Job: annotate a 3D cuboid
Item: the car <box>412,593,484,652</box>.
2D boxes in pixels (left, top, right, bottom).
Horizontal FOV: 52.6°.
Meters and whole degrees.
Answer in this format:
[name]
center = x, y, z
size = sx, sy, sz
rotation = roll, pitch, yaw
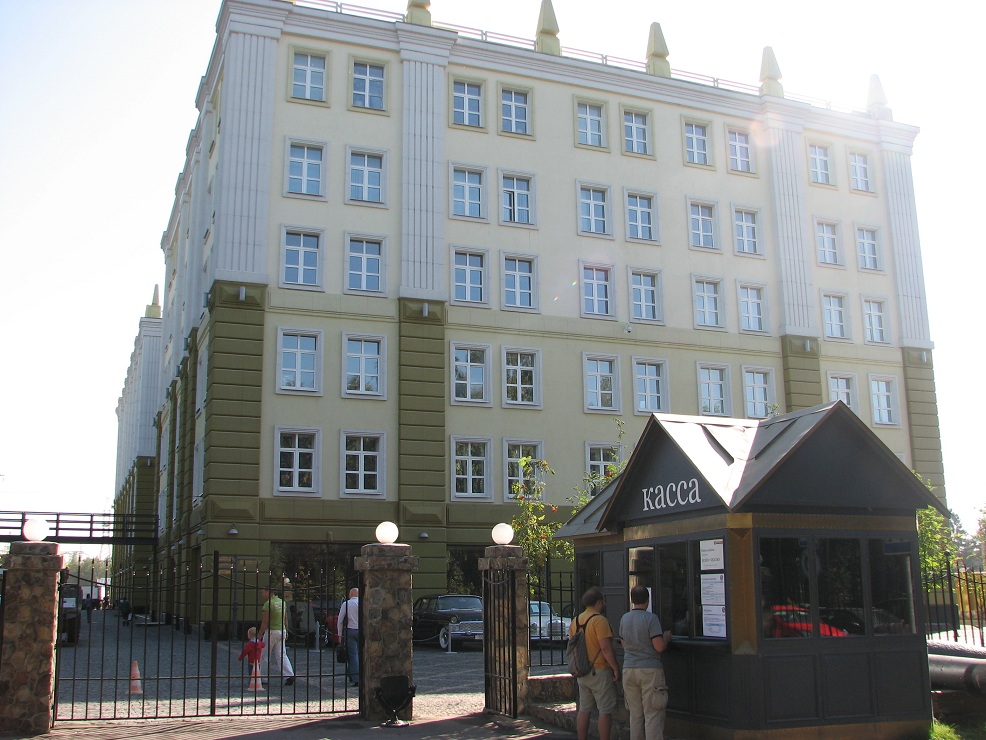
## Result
[car]
center = -1.326, 7.769, 32.179
size = 2.037, 1.755, 3.633
rotation = 6, -19, -25
